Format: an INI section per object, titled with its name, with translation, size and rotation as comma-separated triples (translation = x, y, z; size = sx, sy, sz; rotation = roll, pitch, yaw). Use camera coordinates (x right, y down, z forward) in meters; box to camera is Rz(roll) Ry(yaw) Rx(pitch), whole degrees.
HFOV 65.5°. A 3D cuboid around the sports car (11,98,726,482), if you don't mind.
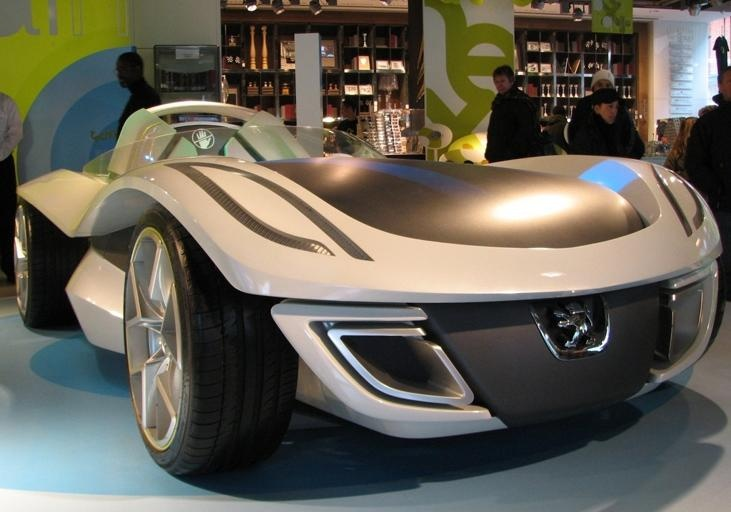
[sports car]
translation = -0.293, 0.123, 2.139
size = 1.273, 0.846, 2.229
rotation = -2, 4, -34
